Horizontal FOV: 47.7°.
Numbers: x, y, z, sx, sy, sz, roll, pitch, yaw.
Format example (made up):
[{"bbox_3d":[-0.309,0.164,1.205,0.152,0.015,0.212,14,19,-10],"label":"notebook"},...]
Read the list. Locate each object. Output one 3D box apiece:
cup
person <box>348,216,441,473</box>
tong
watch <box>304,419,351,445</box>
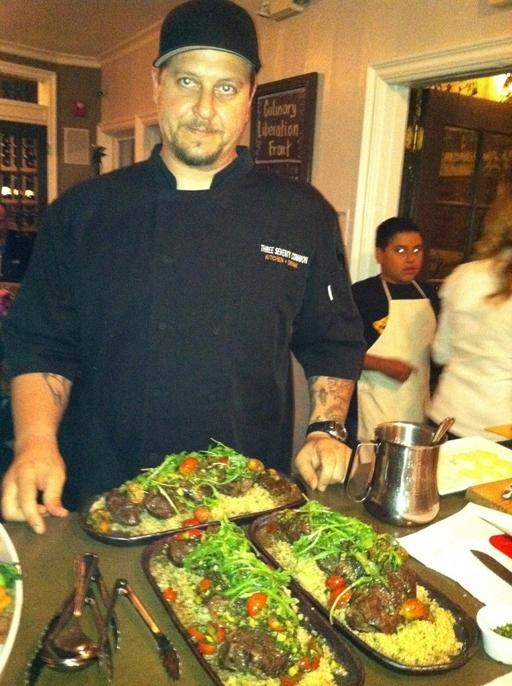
[{"bbox_3d":[0.329,0.255,1.334,0.312,0.262,0.180,-7,15,-28],"label":"cup"},{"bbox_3d":[0.721,-0.033,3.427,0.543,1.495,0.594,0,3,-9],"label":"person"},{"bbox_3d":[-0.244,0.394,0.829,0.093,0.028,0.150,5,8,-11],"label":"tong"},{"bbox_3d":[0.186,0.227,1.496,0.086,0.065,0.076,10,-22,-18],"label":"watch"}]
